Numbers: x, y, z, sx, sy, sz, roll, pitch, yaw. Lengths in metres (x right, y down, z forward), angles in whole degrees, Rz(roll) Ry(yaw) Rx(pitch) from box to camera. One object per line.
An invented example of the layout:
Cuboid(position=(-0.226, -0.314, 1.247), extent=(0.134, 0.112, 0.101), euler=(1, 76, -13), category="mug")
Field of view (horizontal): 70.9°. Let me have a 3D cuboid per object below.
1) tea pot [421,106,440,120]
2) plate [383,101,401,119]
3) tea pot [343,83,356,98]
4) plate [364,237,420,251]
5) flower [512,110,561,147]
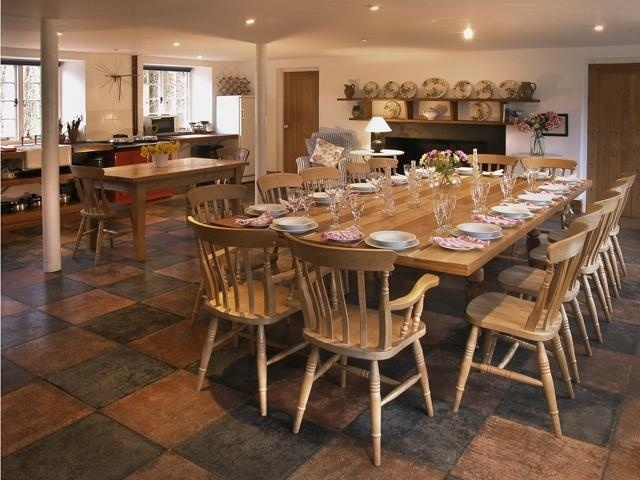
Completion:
Cuboid(position=(1.996, -2.322, 8.220), extent=(0.321, 0.175, 0.244), euler=(4, 13, 27), category="tea pot")
Cuboid(position=(1.382, -2.485, 8.619), extent=(0.373, 0.293, 0.086), euler=(9, 12, 31), category="plate")
Cuboid(position=(0.578, -2.904, 8.797), extent=(0.202, 0.286, 0.236), euler=(1, 17, 12), category="tea pot")
Cuboid(position=(0.407, 0.024, 2.538), extent=(0.306, 0.047, 0.129), euler=(0, 15, 4), category="plate")
Cuboid(position=(3.423, -1.677, 7.183), extent=(0.712, 0.655, 0.808), euler=(3, 11, 33), category="flower")
